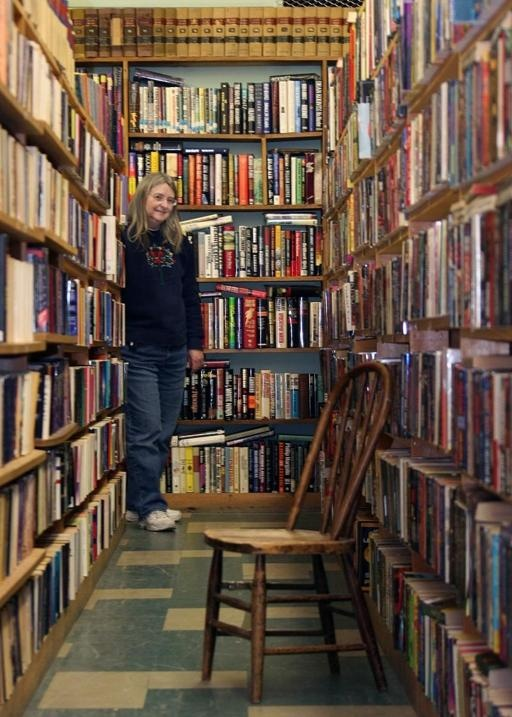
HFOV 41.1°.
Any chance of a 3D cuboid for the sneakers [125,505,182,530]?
[{"bbox_3d":[-0.498,0.765,3.291,0.290,0.100,0.121,-9,-98,34],"label":"sneakers"}]
